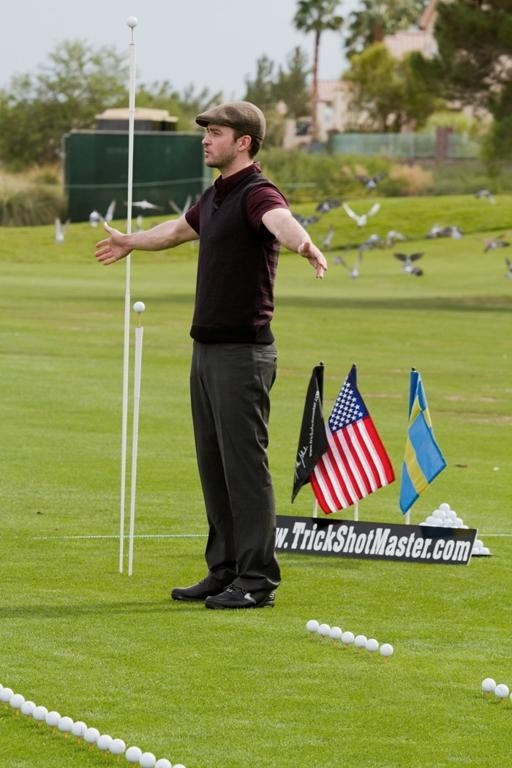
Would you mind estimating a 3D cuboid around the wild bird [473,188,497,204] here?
[{"bbox_3d":[1.287,-1.067,10.644,0.114,0.079,0.140,1,5,11],"label":"wild bird"}]

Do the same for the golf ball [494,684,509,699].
[{"bbox_3d":[0.822,1.037,6.327,0.051,0.052,0.043,1,5,16],"label":"golf ball"}]

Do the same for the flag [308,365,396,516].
[{"bbox_3d":[0.396,0.311,8.047,0.259,0.755,0.288,-11,22,-28],"label":"flag"}]

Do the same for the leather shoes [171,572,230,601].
[{"bbox_3d":[-0.220,0.781,7.291,0.226,0.124,0.094,-1,0,-23],"label":"leather shoes"}]

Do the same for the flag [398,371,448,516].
[{"bbox_3d":[0.710,0.255,8.083,0.182,0.648,0.316,0,4,6],"label":"flag"}]

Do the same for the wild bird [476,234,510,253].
[{"bbox_3d":[1.361,-0.801,10.730,0.117,0.105,0.075,-4,-18,37],"label":"wild bird"}]

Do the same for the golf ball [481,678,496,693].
[{"bbox_3d":[0.783,1.023,6.372,0.040,0.059,0.043,8,-18,2],"label":"golf ball"}]
